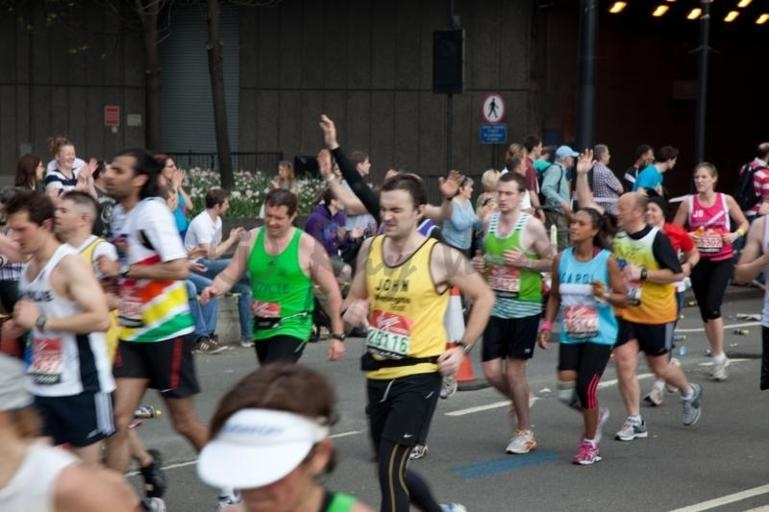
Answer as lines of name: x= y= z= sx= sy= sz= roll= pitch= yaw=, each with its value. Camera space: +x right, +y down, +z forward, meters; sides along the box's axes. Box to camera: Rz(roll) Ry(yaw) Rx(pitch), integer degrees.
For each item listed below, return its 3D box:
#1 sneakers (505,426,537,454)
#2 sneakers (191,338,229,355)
sneakers: x=1.301 y=1.778 z=7.802 sx=0.159 sy=0.161 sz=0.329 roll=-5 pitch=-2 yaw=40
sneakers: x=-2.402 y=1.245 z=11.302 sx=0.486 sy=0.214 sz=0.173 roll=1 pitch=1 yaw=5
